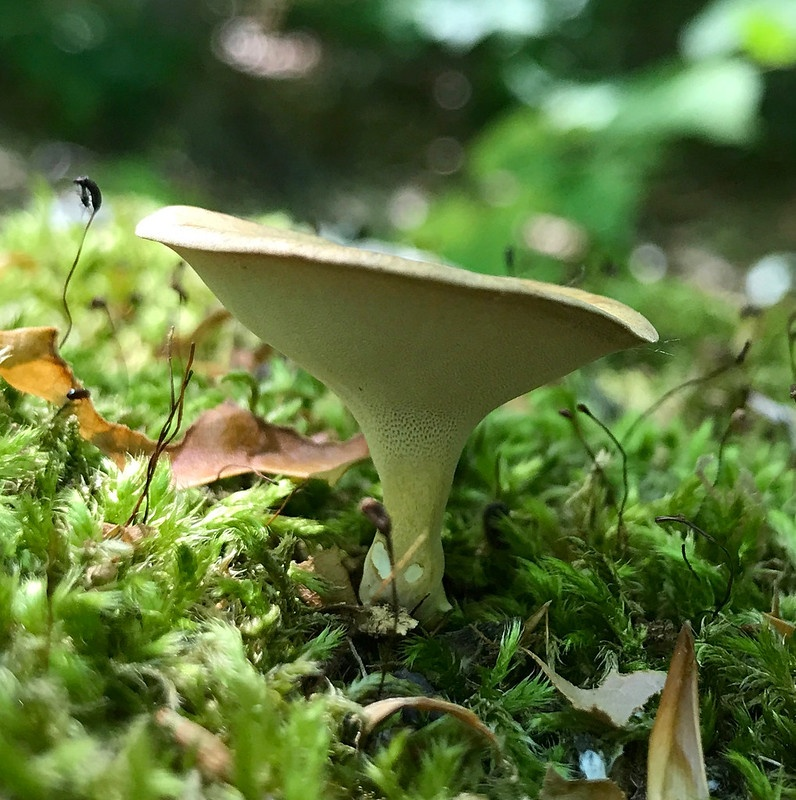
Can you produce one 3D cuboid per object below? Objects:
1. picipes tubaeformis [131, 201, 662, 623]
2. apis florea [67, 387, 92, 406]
[{"bbox_3d":[-0.104,0.010,1.254,0.671,0.607,0.325,1,87,30],"label":"picipes tubaeformis"},{"bbox_3d":[-0.385,-0.004,1.240,0.029,0.031,0.009,1,80,-22],"label":"apis florea"}]
